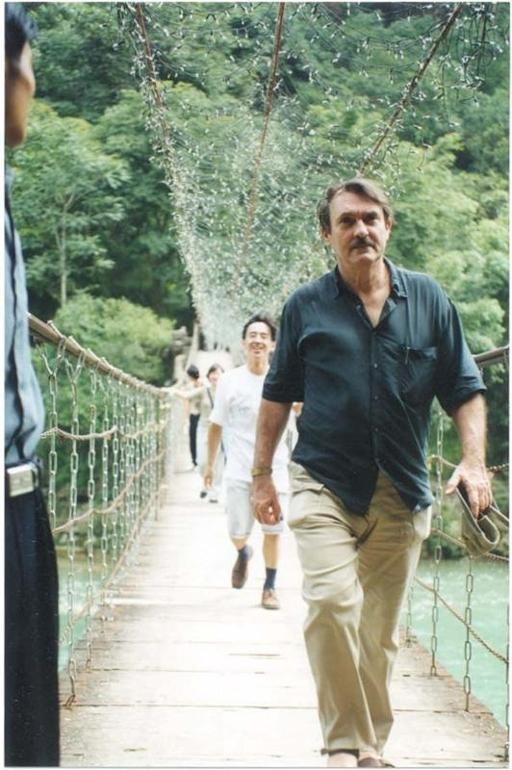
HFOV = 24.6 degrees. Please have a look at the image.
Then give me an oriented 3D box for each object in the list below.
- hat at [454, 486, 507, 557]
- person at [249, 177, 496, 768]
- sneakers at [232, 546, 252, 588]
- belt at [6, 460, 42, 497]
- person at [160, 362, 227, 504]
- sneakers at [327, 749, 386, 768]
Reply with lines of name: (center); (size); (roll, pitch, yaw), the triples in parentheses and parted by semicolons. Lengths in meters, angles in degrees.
hat: (0.711, 0.451, 3.774); (0.142, 0.225, 0.111); (-28, -5, -30)
person: (0.404, 0.260, 3.833); (0.656, 1.825, 0.775); (-4, 11, -19)
sneakers: (-0.083, 0.878, 5.736); (0.081, 0.226, 0.096); (11, 3, 33)
belt: (-0.672, 0.271, 3.379); (0.082, 0.100, 0.148); (-1, 2, 35)
person: (-0.400, 0.356, 9.025); (0.586, 1.027, 0.476); (5, -6, -16)
sneakers: (0.303, 1.132, 3.571); (0.202, 0.074, 0.060); (-1, -4, -1)
